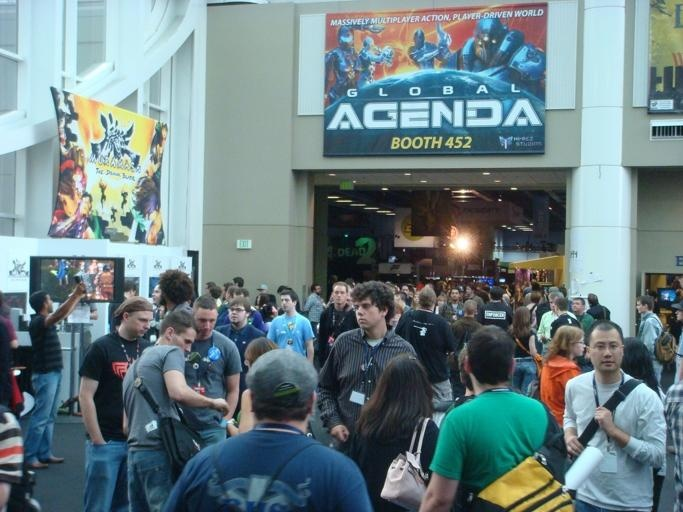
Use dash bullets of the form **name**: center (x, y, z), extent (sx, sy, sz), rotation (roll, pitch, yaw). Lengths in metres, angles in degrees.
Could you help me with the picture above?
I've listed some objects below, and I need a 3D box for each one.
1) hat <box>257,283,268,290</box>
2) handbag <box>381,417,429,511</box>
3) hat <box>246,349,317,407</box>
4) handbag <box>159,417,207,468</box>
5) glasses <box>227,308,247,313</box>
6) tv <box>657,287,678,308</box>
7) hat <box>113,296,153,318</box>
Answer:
- **hat**: center (-1.634, 0.641, 16.556), extent (0.154, 0.125, 0.232), rotation (1, -8, 35)
- **handbag**: center (0.462, 1.481, 5.641), extent (0.231, 0.646, 0.444), rotation (9, -15, 31)
- **hat**: center (-0.345, 0.725, 4.692), extent (0.282, 0.253, 0.362), rotation (-4, 26, -9)
- **handbag**: center (-1.261, 1.454, 6.228), extent (0.334, 0.390, 0.214), rotation (2, -2, -16)
- **glasses**: center (-1.120, 0.584, 8.624), extent (0.182, 0.040, 0.107), rotation (2, -2, -10)
- **tv**: center (7.031, 0.879, 17.141), extent (0.393, 0.404, 0.223), rotation (1, 1, 17)
- **hat**: center (-1.840, 0.471, 7.075), extent (0.249, 0.216, 0.201), rotation (20, 3, 11)
